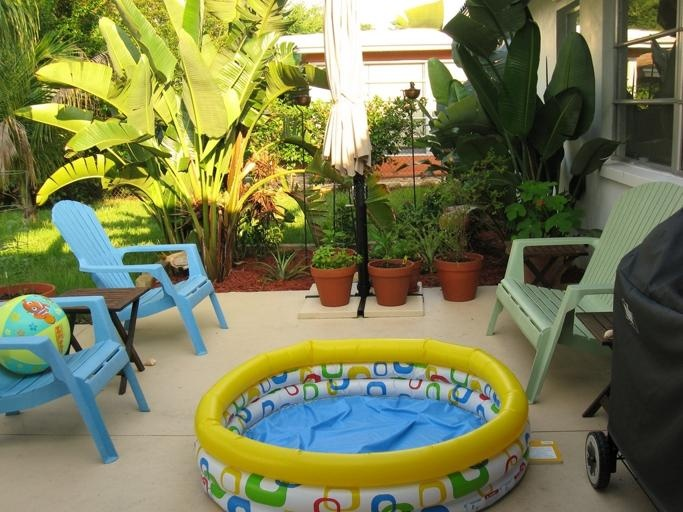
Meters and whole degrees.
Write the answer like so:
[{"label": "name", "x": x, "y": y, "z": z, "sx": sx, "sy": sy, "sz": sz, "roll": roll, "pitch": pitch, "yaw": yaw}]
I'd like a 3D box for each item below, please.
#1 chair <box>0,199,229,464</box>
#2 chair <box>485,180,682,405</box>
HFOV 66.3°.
[{"label": "chair", "x": -1.900, "y": 0.614, "z": 4.553, "sx": 1.074, "sy": 1.151, "sz": 1.917, "roll": 5, "pitch": 17, "yaw": 4}, {"label": "chair", "x": 1.976, "y": 0.223, "z": 4.313, "sx": 1.571, "sy": 1.690, "sz": 1.433, "roll": -7, "pitch": 15, "yaw": -2}]
